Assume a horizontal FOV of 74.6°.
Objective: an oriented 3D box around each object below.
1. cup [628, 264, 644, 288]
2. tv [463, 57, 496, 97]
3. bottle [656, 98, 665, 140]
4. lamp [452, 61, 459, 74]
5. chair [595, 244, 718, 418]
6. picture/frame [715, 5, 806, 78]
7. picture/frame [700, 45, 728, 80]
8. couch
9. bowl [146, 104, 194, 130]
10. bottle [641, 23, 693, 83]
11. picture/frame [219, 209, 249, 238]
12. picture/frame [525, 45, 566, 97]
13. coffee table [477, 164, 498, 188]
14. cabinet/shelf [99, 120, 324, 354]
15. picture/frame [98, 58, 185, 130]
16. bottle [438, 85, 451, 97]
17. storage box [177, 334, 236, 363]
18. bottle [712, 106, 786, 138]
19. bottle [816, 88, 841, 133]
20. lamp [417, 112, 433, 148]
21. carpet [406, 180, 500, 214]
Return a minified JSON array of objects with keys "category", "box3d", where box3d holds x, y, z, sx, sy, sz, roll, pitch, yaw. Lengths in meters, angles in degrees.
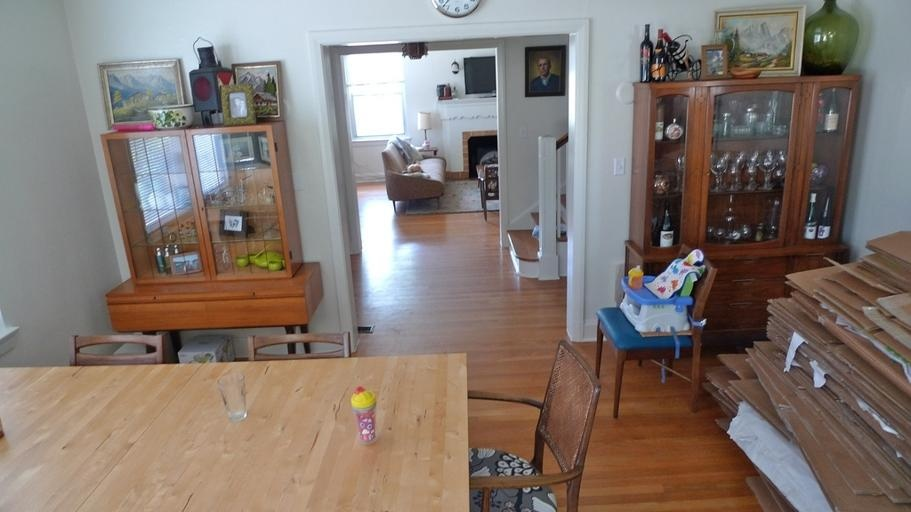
[{"category":"cup","box3d":[1.582,0.169,5.168,0.199,0.180,0.111,-19,25,-31]},{"category":"tv","box3d":[0.465,-3.527,11.758,0.818,0.708,0.102,-14,25,-32]},{"category":"bottle","box3d":[1.830,-1.199,5.320,0.075,0.354,0.109,3,23,18]},{"category":"lamp","box3d":[0.017,-3.691,11.794,0.142,0.239,0.169,3,22,19]},{"category":"chair","box3d":[1.699,0.667,5.284,0.930,1.200,0.793,-7,18,-10]},{"category":"picture/frame","box3d":[2.724,-1.897,5.303,0.817,0.588,0.059,0,10,9]},{"category":"picture/frame","box3d":[2.294,-1.709,5.289,0.261,0.286,0.164,-12,23,-20]},{"category":"couch","box3d":[-0.713,-1.592,10.793,1.130,0.915,1.921,-1,23,0]},{"category":"bowl","box3d":[-2.447,-1.199,5.205,0.294,0.122,0.272,-1,6,0]},{"category":"bottle","box3d":[1.919,-1.799,5.329,0.512,0.476,0.355,0,21,11]},{"category":"picture/frame","box3d":[-2.001,-0.304,5.413,0.264,0.222,0.127,1,23,-9]},{"category":"picture/frame","box3d":[1.192,-2.406,7.838,0.509,0.619,0.216,-2,22,6]},{"category":"coffee table","box3d":[0.552,-1.268,9.677,0.284,0.380,0.542,-5,20,-1]},{"category":"cabinet/shelf","box3d":[-2.210,-0.231,5.363,2.267,2.526,0.920,-1,18,0]},{"category":"picture/frame","box3d":[-2.772,-1.461,5.335,0.764,0.560,0.075,-3,13,-6]},{"category":"bottle","box3d":[-0.230,-3.274,11.916,0.301,0.287,0.217,-4,25,-4]},{"category":"storage box","box3d":[-2.348,0.856,5.679,0.384,0.207,0.344,-2,19,-11]},{"category":"bottle","box3d":[2.608,-1.192,5.336,0.472,0.150,0.305,-2,17,-2]},{"category":"bottle","box3d":[3.291,-1.264,5.250,0.160,0.374,0.051,-3,23,5]},{"category":"lamp","box3d":[-0.586,-2.542,11.988,0.416,0.864,0.369,-3,36,-1]},{"category":"carpet","box3d":[-0.256,-1.245,12.066,1.347,0.052,1.974,-13,5,-40]}]
